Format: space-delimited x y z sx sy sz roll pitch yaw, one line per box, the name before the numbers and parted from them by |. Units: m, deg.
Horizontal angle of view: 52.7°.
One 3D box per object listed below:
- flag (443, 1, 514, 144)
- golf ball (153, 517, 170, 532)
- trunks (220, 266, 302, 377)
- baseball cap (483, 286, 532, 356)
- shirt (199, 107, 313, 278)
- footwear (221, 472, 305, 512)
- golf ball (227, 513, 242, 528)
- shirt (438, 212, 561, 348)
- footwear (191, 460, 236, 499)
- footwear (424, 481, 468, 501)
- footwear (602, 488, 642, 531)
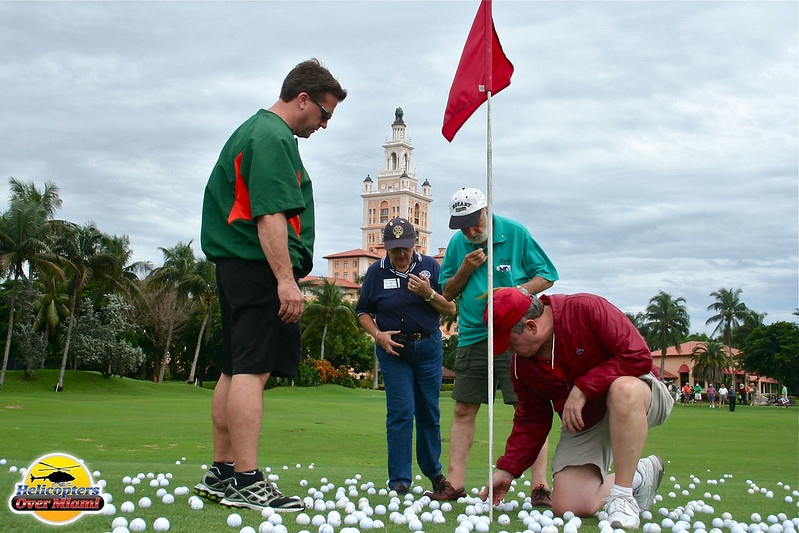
flag | 0.899 -2.173 8.991 0.614 1.430 1.000 4 -7 -20
golf ball | -2.223 2.400 7.549 0.109 0.087 0.110 -10 -4 -1
trunks | -1.427 0.549 8.332 1.033 1.422 0.745 2 -4 -30
baseball cap | 1.092 0.511 8.320 0.408 0.668 0.359 7 -25 48
shirt | -1.447 -0.706 8.238 0.978 1.573 1.719 0 1 -19
footwear | -1.413 2.342 8.375 0.960 0.472 0.352 6 -9 -4
golf ball | -1.603 2.436 7.779 0.105 0.085 0.104 0 3 0
shirt | 1.173 0.152 10.229 1.449 1.802 0.865 3 22 19
footwear | -1.936 2.250 8.461 0.240 0.314 0.578 19 -1 27
footwear | 0.541 2.620 9.435 0.475 0.243 0.182 4 -12 -4
footwear | 2.283 2.468 8.252 0.321 0.396 0.293 1 -7 14
